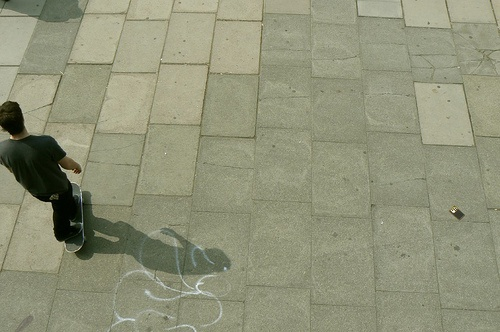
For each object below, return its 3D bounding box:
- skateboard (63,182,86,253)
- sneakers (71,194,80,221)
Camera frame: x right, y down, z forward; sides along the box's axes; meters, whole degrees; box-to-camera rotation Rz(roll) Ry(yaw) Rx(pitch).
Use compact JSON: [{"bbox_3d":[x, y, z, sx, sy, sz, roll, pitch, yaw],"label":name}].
[{"bbox_3d":[-2.791,0.767,8.028,0.265,0.168,1.189,-8,71,13],"label":"skateboard"},{"bbox_3d":[-2.743,0.660,8.084,0.120,0.198,0.376,2,74,-3],"label":"sneakers"}]
